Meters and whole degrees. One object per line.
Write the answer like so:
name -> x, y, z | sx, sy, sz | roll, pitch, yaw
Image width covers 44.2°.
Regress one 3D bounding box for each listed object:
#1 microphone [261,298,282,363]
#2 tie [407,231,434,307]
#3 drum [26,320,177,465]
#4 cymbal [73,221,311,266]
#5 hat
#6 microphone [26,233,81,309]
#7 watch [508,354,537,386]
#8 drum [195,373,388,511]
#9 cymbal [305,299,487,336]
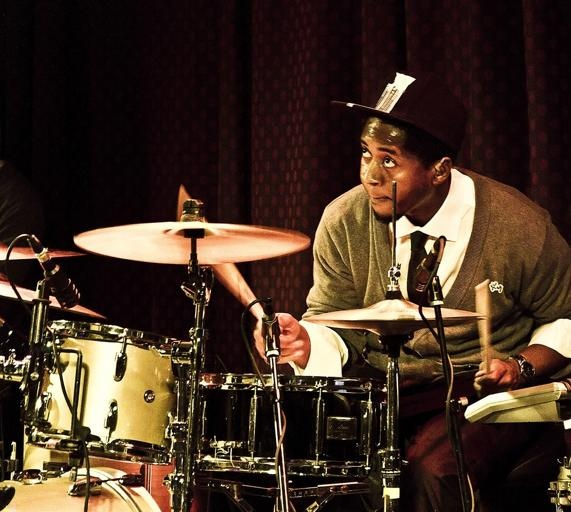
microphone -> -0.042, 0.175, 1.667 | 0.052, 0.143, 0.075 | -4, -14, 23
tie -> 0.371, 0.038, 1.927 | 0.057, 0.216, 0.085 | 5, 2, 0
drum -> -0.547, 0.367, 1.919 | 0.410, 0.385, 0.306 | -4, -14, 21
cymbal -> -0.251, -0.016, 2.013 | 0.638, 0.081, 0.462 | 0, -14, 4
hat -> 0.364, -0.420, 2.170 | 0.327, 0.118, 0.237 | 25, 3, -19
microphone -> -0.617, 0.041, 1.879 | 0.137, 0.181, 0.270 | 6, -14, -17
watch -> 0.655, 0.323, 2.002 | 0.053, 0.086, 0.079 | -23, -7, -20
drum -> 0.017, 0.442, 1.888 | 0.399, 0.199, 0.417 | 3, -14, 1
cymbal -> 0.265, 0.151, 1.753 | 0.371, 0.079, 0.299 | -11, -19, 42
